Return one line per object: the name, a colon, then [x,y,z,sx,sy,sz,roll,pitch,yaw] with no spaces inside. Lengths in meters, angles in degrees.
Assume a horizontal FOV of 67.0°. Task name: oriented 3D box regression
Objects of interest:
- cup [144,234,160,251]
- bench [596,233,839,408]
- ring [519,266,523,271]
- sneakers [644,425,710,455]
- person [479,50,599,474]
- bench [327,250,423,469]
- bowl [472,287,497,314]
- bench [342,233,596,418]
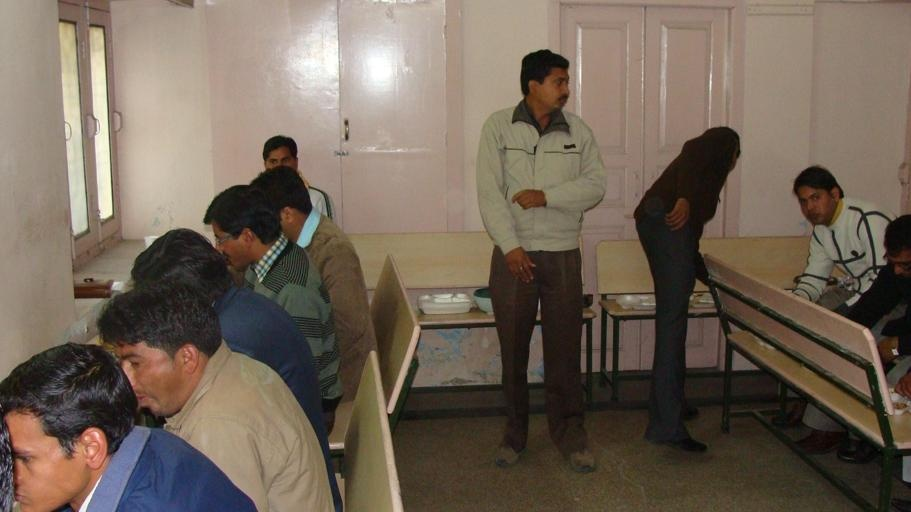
cup: [-2.076,-0.091,4.696,0.100,0.122,0.105,-6,6,1]
bench: [2.128,0.494,5.574,1.525,0.946,0.536,-1,11,-4]
ring: [0.471,0.087,4.848,0.026,0.024,0.006,-4,9,22]
sneakers: [1.728,1.443,5.422,0.526,0.210,0.176,2,3,20]
person: [0.639,0.059,5.030,0.900,3.005,0.673,-2,15,9]
bench: [-0.633,0.606,4.276,0.655,1.033,1.093,2,24,-15]
bowl: [0.243,0.377,5.907,0.208,0.153,0.203,-1,11,0]
bench: [0.097,0.496,5.228,1.608,1.028,0.571,-1,6,-4]
